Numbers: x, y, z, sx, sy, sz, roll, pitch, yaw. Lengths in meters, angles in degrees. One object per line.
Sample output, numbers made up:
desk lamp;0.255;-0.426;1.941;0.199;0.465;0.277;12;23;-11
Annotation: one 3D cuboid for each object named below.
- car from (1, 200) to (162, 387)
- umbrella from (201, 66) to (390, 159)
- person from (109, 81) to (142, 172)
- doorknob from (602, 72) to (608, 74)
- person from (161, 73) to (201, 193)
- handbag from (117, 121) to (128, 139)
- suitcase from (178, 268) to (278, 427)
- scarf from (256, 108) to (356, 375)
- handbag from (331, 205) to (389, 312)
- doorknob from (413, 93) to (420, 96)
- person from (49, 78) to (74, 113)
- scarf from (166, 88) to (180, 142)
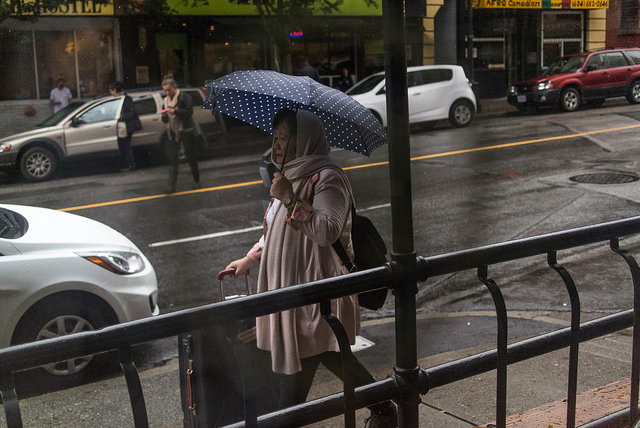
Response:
car;-2.669;0.788;8.124;2.314;1.362;1.443;-6;16;-16
umbrella;-0.288;-0.989;6.614;0.998;0.376;1.043;16;-9;38
person;-4.664;-2.127;18.084;0.587;2.129;0.625;-8;7;-16
doorknob;9.154;-4.508;23.999;0.196;0.052;0.027;-13;10;-29
person;-2.876;-1.605;15.034;0.718;2.240;0.741;-7;7;-13
handbag;-4.743;-2.008;17.833;0.219;0.401;0.156;-9;8;-19
suitcase;-0.764;1.060;5.900;0.750;1.170;1.661;-7;9;-5
scarf;0.057;0.193;6.368;0.829;2.263;0.857;2;10;20
handbag;0.317;0.371;5.946;0.427;0.813;0.483;-6;8;4
doorknob;2.683;-3.343;20.909;0.184;0.070;0.032;-13;10;-29
person;-8.059;-3.443;23.209;0.640;1.513;0.538;-10;32;-26
scarf;-2.930;-1.946;14.901;0.324;1.004;0.298;-7;7;-10
